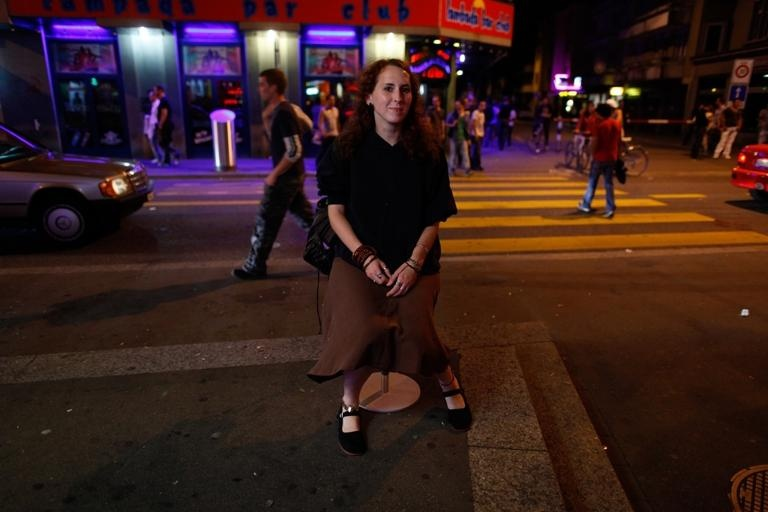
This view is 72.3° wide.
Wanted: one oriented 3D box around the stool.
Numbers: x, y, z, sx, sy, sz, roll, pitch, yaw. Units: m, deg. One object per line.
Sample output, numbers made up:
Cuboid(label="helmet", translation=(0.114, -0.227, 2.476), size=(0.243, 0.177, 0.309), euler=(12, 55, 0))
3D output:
Cuboid(label="stool", translation=(0.029, 1.005, 4.774), size=(0.639, 0.626, 0.606), euler=(1, 16, -12))

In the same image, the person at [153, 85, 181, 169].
Cuboid(label="person", translation=(-7.043, -4.168, 16.803), size=(0.586, 2.469, 0.930), euler=(-6, 19, -20))

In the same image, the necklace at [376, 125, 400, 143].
Cuboid(label="necklace", translation=(0.028, -1.025, 4.421), size=(0.156, 0.105, 0.149), euler=(14, 19, -16))

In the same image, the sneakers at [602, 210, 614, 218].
Cuboid(label="sneakers", translation=(4.654, -0.909, 10.903), size=(0.202, 0.159, 0.363), euler=(8, 18, 20))

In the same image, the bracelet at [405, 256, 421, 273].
Cuboid(label="bracelet", translation=(0.241, 0.070, 4.305), size=(0.061, 0.166, 0.061), euler=(-35, -2, -6))

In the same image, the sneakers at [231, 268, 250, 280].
Cuboid(label="sneakers", translation=(-1.977, 0.258, 7.320), size=(0.309, 0.125, 0.108), euler=(22, -9, 7))

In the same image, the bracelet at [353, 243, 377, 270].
Cuboid(label="bracelet", translation=(-0.174, 0.005, 4.301), size=(0.116, 0.152, 0.207), euler=(36, 22, 29))

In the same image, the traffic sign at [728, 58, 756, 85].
Cuboid(label="traffic sign", translation=(14.235, -7.402, 20.941), size=(0.589, 0.981, 0.957), euler=(10, 19, 26))

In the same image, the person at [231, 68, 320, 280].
Cuboid(label="person", translation=(-1.466, -1.052, 6.996), size=(0.992, 2.790, 0.638), euler=(-2, 18, -8))

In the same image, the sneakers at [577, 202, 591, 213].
Cuboid(label="sneakers", translation=(4.342, -1.071, 11.419), size=(0.136, 0.148, 0.355), euler=(3, 19, 1))

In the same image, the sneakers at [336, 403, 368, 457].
Cuboid(label="sneakers", translation=(-0.268, 1.456, 4.376), size=(0.179, 0.173, 0.460), euler=(-2, 15, -10))
